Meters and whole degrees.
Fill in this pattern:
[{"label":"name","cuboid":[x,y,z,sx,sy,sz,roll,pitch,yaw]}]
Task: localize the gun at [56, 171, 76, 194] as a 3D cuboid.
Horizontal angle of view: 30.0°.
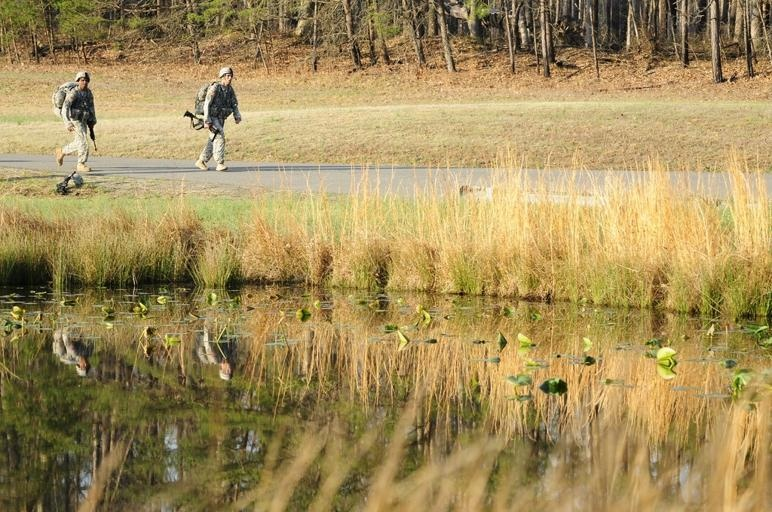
[{"label":"gun","cuboid":[-9.736,-2.225,43.971,0.746,0.267,0.456,-53,20,-24]}]
